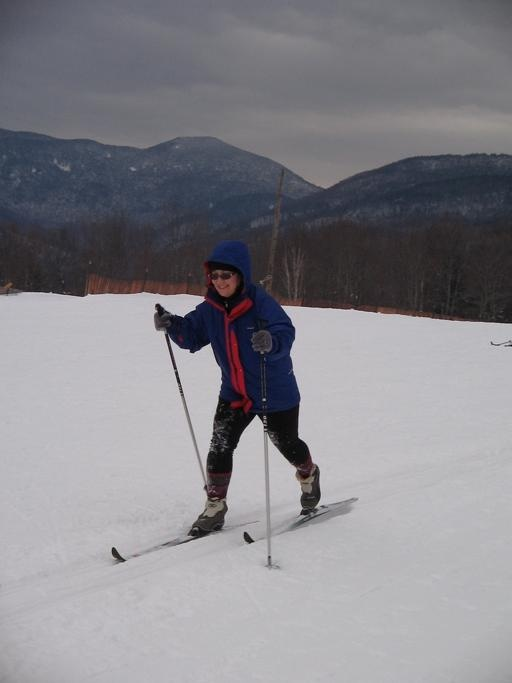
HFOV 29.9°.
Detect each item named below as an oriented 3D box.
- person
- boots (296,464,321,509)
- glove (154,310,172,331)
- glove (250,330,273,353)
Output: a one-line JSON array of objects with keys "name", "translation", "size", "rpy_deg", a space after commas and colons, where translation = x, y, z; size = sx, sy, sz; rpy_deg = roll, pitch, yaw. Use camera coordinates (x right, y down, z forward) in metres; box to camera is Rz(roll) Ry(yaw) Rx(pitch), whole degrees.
[{"name": "person", "translation": [-0.104, 0.299, 5.618], "size": [0.830, 1.766, 0.721], "rpy_deg": [-2, 9, 7]}, {"name": "boots", "translation": [0.349, 0.909, 5.956], "size": [0.122, 0.291, 0.193], "rpy_deg": [-4, -13, 30]}, {"name": "glove", "translation": [-0.551, -0.122, 5.740], "size": [0.092, 0.114, 0.044], "rpy_deg": [5, 13, 30]}, {"name": "glove", "translation": [0.033, 0.004, 5.237], "size": [0.105, 0.126, 0.097], "rpy_deg": [-3, 8, 2]}]
